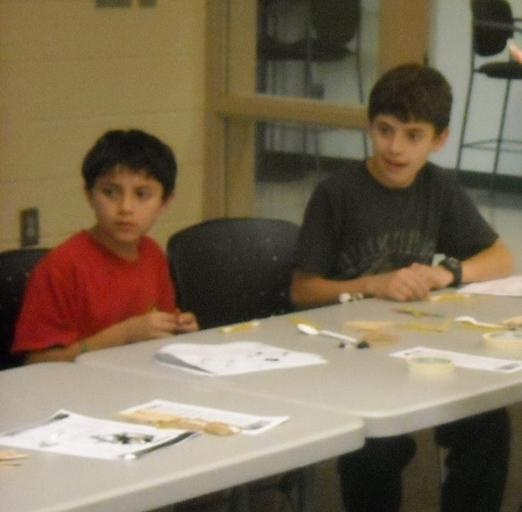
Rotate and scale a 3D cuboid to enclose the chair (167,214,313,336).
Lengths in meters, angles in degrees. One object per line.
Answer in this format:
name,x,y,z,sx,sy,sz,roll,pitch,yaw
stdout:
chair,-0.093,0.045,1.650,0.324,0.377,0.326,-4,2,-26
